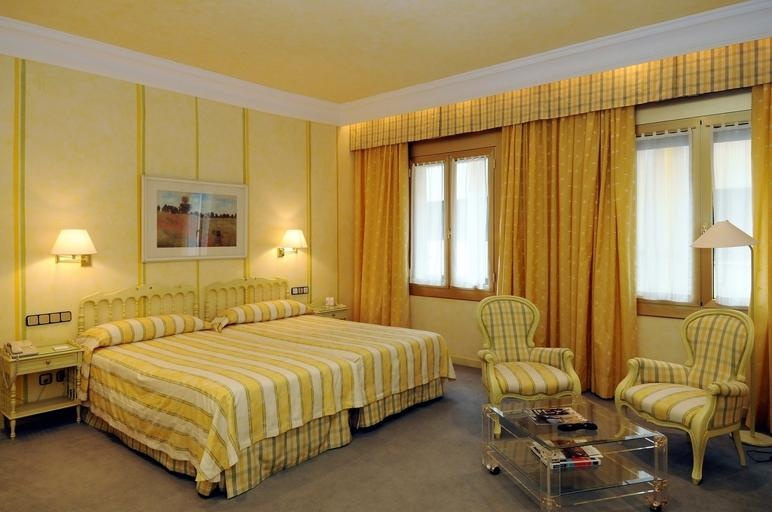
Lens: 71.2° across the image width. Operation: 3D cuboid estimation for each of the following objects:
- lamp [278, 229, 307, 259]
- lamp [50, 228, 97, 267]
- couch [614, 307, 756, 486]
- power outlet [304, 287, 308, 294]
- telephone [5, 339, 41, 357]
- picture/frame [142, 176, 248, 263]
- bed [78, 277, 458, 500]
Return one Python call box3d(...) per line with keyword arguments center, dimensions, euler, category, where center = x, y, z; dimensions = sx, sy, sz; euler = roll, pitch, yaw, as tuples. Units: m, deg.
box3d(center=(-1.367, -0.193, 8.303), dimensions=(0.451, 0.412, 0.418), euler=(0, 0, 40), category="lamp")
box3d(center=(-3.715, -0.103, 6.440), dimensions=(0.456, 0.438, 0.464), euler=(-1, 3, -37), category="lamp")
box3d(center=(3.213, 1.356, 5.801), dimensions=(1.041, 1.612, 1.267), euler=(-1, 3, -23), category="couch")
box3d(center=(-1.279, 0.545, 8.612), dimensions=(0.048, 0.088, 0.096), euler=(6, 7, 40), category="power outlet")
box3d(center=(-4.106, 1.039, 6.080), dimensions=(0.259, 0.180, 0.370), euler=(-2, 1, -44), category="telephone")
box3d(center=(-2.686, -0.504, 7.402), dimensions=(1.290, 0.959, 0.055), euler=(0, 3, -40), category="picture/frame")
box3d(center=(-1.578, 1.328, 6.709), dimensions=(3.454, 1.667, 2.867), euler=(-2, 1, -44), category="bed")
